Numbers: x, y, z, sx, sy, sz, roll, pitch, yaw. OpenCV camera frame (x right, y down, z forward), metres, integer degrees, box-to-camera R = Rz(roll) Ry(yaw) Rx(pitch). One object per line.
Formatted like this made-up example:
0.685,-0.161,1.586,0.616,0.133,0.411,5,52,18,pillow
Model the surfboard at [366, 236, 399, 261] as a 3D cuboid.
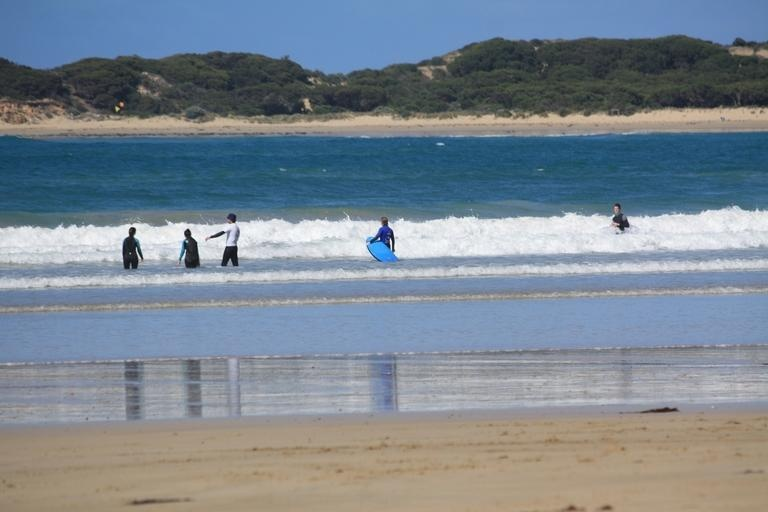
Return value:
-0.114,-0.220,113.570,1.015,3.241,0.430,-48,-10,-20,surfboard
